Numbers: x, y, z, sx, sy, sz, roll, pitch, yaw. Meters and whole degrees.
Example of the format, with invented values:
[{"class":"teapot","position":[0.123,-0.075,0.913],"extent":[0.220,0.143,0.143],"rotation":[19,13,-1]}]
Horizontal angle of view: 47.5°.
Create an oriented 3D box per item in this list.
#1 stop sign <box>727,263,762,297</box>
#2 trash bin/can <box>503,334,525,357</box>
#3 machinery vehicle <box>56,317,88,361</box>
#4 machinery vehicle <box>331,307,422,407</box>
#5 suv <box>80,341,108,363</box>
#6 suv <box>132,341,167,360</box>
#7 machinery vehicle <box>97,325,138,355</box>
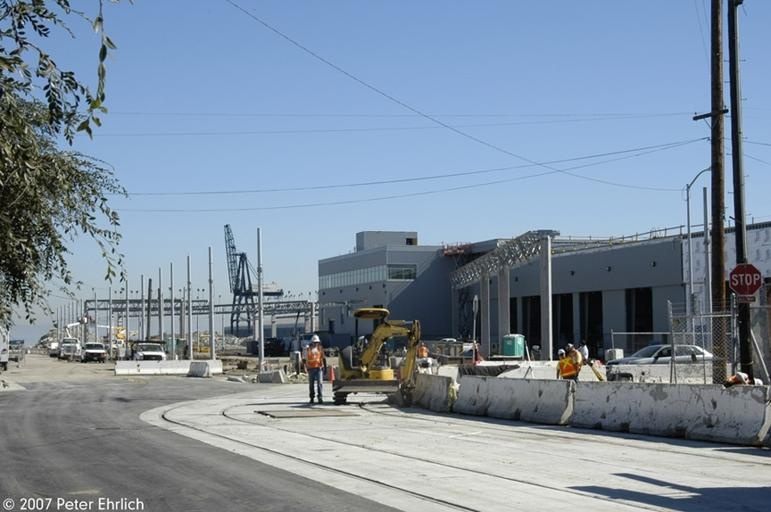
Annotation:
[{"class":"stop sign","position":[11.204,0.711,27.723],"extent":[1.015,1.123,0.747],"rotation":[0,-9,3]},{"class":"trash bin/can","position":[9.589,6.787,67.720],"extent":[1.534,2.183,1.803],"rotation":[-3,5,-27]},{"class":"machinery vehicle","position":[-40.200,10.847,114.698],"extent":[2.176,3.934,7.410],"rotation":[7,4,-5]},{"class":"machinery vehicle","position":[-0.370,3.745,33.079],"extent":[3.124,3.505,2.315],"rotation":[1,-6,-1]},{"class":"suv","position":[-29.535,9.910,89.509],"extent":[1.808,1.489,3.732],"rotation":[1,1,-15]},{"class":"suv","position":[-19.534,7.745,72.563],"extent":[1.572,1.204,2.949],"rotation":[2,-9,-18]},{"class":"machinery vehicle","position":[-38.388,12.146,126.163],"extent":[2.615,4.250,7.608],"rotation":[4,-6,37]}]
